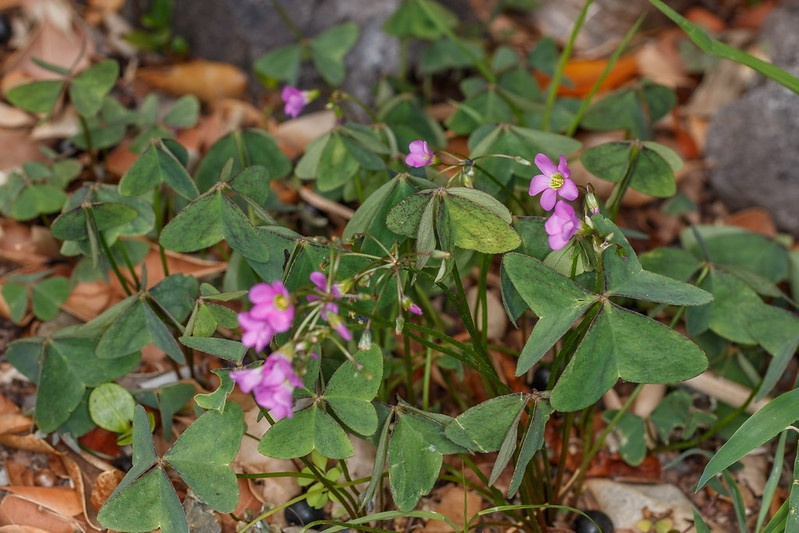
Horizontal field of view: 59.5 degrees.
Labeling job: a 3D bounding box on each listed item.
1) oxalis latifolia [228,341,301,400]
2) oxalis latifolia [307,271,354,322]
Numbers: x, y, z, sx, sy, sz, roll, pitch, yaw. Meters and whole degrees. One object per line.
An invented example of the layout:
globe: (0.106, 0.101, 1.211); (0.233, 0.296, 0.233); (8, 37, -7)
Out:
oxalis latifolia: (-0.357, 0.292, 1.863); (0.125, 0.062, 0.136); (-15, 61, -39)
oxalis latifolia: (-0.189, 0.077, 1.886); (0.033, 0.109, 0.103); (-39, 50, -22)
